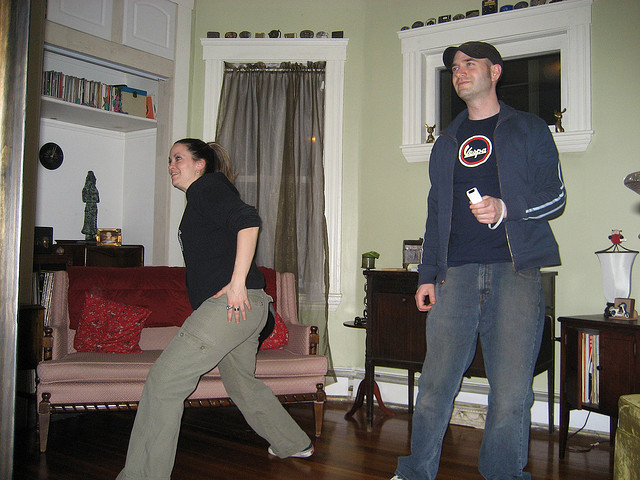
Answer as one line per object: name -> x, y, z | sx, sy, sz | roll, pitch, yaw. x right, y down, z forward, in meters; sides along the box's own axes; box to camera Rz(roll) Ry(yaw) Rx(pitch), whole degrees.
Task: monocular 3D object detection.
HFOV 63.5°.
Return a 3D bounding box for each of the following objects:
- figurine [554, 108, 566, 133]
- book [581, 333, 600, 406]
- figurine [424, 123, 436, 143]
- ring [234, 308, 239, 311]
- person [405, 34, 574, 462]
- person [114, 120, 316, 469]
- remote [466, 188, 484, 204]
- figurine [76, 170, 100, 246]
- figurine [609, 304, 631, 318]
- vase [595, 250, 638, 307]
figurine -> 1.678, -0.821, 3.612 | 0.071, 0.182, 0.191 | 1, 0, 25
book -> 1.589, 0.770, 3.029 | 0.073, 0.322, 0.307 | 0, -3, 23
figurine -> 0.847, -0.831, 4.016 | 0.074, 0.154, 0.145 | 1, 0, 11
ring -> -0.386, 0.314, 2.350 | 0.021, 0.016, 0.010 | -3, 23, -3
person -> 0.760, 0.059, 2.366 | 0.648, 1.992, 0.400 | 1, 0, 24
person -> -0.654, 0.372, 3.077 | 1.022, 1.370, 1.628 | 1, 1, -17
remote -> 0.678, -0.191, 2.258 | 0.057, 0.109, 0.011 | -20, -9, 16
figurine -> -2.527, -0.352, 5.640 | 0.249, 0.778, 0.289 | 4, 4, 22
figurine -> 1.789, 0.426, 3.075 | 0.079, 0.035, 0.063 | -1, 7, 20
vase -> 1.839, 0.238, 3.193 | 0.200, 0.383, 0.132 | 1, 0, -4
